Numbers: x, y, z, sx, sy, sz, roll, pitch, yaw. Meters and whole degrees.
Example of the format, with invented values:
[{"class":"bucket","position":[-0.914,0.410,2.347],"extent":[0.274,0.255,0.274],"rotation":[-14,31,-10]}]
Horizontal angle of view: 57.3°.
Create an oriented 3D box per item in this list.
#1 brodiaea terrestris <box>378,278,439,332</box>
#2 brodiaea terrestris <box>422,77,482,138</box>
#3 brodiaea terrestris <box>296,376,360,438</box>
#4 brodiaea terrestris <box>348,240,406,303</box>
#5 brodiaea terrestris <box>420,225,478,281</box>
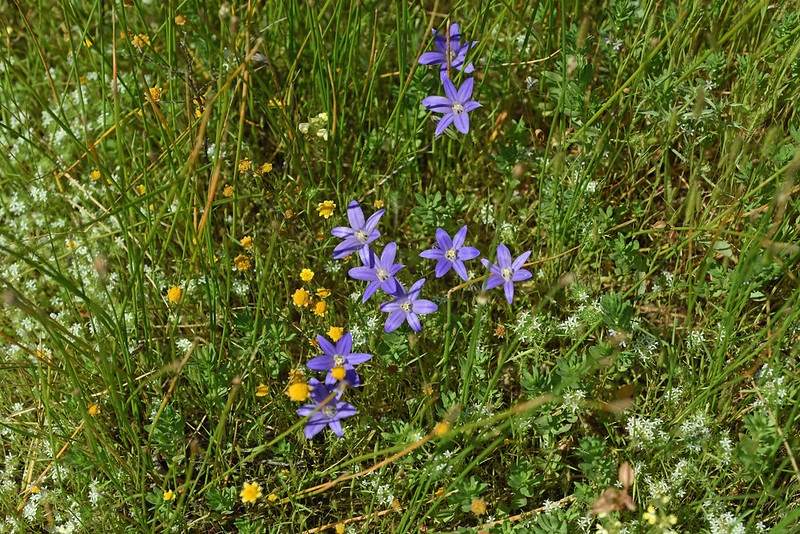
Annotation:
[{"class":"brodiaea terrestris","position":[0.040,0.261,4.047],"extent":[0.297,0.402,0.262],"rotation":[2,49,-2]},{"class":"brodiaea terrestris","position":[0.310,-0.927,4.192],"extent":[0.306,0.122,0.360],"rotation":[18,96,7]},{"class":"brodiaea terrestris","position":[-0.392,0.749,3.825],"extent":[0.302,0.087,0.323],"rotation":[-40,76,-17]},{"class":"brodiaea terrestris","position":[-0.086,0.000,4.091],"extent":[0.265,0.300,0.107],"rotation":[22,64,-6]},{"class":"brodiaea terrestris","position":[0.287,-0.078,4.159],"extent":[0.340,0.394,0.102],"rotation":[-4,58,-29]}]
